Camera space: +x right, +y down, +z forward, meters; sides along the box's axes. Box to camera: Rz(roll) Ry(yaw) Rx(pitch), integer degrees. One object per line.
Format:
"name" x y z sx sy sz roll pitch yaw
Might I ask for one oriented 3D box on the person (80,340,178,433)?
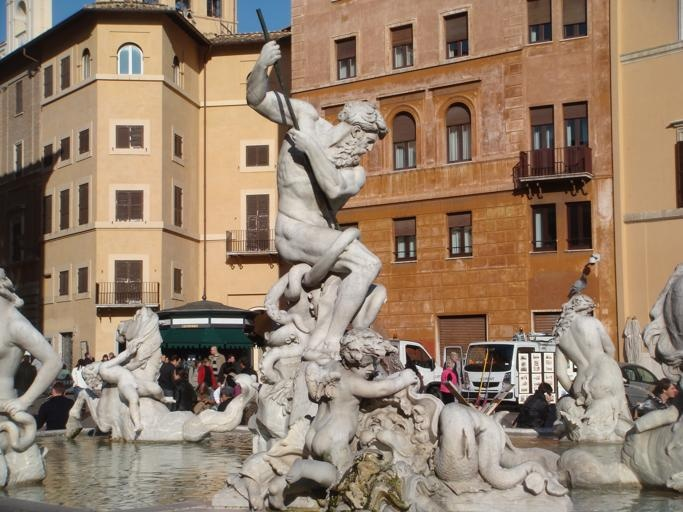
"person" -3.136 1.942 18.375 1.062 1.383 0.703 0 -9 1

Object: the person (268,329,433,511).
"person" 0.044 1.891 13.951 1.481 1.968 0.863 -13 30 -28

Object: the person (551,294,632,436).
"person" 3.737 1.662 18.931 1.135 2.257 0.752 -5 -10 26

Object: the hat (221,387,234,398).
"hat" -2.108 2.541 23.303 0.212 0.219 0.176 -5 3 3

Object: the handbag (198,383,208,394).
"handbag" -3.004 2.914 27.546 0.220 0.217 0.226 5 -6 -31

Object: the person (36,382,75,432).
"person" -4.629 2.303 20.678 0.660 0.693 1.182 8 -33 -14

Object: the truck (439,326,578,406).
"truck" 5.112 3.220 35.393 1.911 2.069 3.881 -4 -4 40

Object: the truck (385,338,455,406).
"truck" 2.020 3.160 34.750 2.115 1.345 1.507 -5 0 -19

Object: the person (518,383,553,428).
"person" 3.662 2.767 23.320 0.604 0.858 0.452 10 2 -10

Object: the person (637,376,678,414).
"person" 5.940 2.633 23.946 0.660 0.688 2.997 -2 -10 12
